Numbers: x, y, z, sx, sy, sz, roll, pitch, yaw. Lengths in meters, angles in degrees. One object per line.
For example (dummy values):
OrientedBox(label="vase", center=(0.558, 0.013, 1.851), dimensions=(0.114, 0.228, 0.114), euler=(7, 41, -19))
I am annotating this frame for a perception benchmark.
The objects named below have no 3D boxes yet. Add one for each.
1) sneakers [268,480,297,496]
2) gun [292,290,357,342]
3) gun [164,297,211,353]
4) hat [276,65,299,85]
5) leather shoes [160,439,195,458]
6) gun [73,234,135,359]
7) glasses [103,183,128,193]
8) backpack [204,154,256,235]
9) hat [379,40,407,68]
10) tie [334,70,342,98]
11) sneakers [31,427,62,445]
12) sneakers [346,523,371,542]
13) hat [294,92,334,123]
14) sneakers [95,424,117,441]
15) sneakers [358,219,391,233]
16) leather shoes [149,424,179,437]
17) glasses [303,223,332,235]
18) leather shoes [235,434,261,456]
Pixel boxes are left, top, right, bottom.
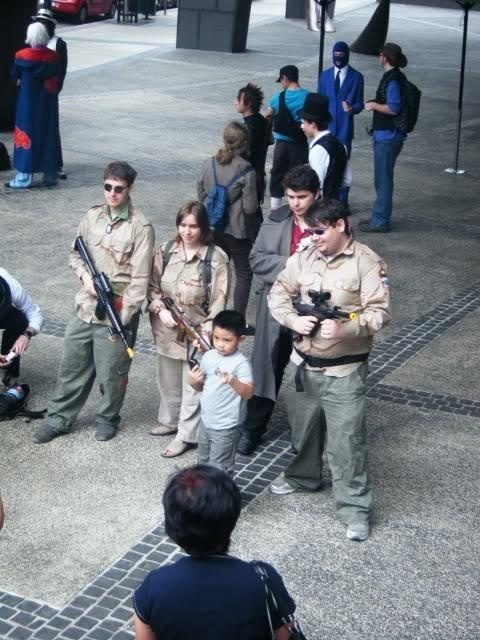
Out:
OrientedBox(label="sneakers", center=(0.315, 1.212, 4.015), dimensions=(0.189, 0.080, 0.084), euler=(7, 23, 5))
OrientedBox(label="gun", center=(0.507, -0.028, 3.416), dimensions=(0.087, 0.314, 0.500), euler=(-6, 12, -37))
OrientedBox(label="gun", center=(-0.398, 0.016, 4.265), dimensions=(0.051, 0.240, 0.607), euler=(-28, 51, -28))
OrientedBox(label="hat", center=(0.838, -4.136, 9.320), dimensions=(0.392, 0.253, 0.488), euler=(-5, 22, -11))
OrientedBox(label="leather shoes", center=(-0.510, 1.036, 4.483), dimensions=(0.305, 0.106, 0.109), euler=(-4, 7, -41))
OrientedBox(label="gun", center=(-1.087, -0.203, 4.423), dimensions=(0.172, 1.071, 0.440), euler=(-15, -23, -30))
OrientedBox(label="glasses", center=(-0.950, -1.014, 4.233), dimensions=(0.106, 0.045, 0.130), euler=(4, 5, 2))
OrientedBox(label="backpack", center=(-0.083, -1.419, 6.344), dimensions=(0.804, 0.858, 0.462), euler=(18, 30, 30))
OrientedBox(label="hat", center=(2.657, -4.555, 9.398), dimensions=(0.370, 0.450, 0.688), euler=(13, 18, 32))
OrientedBox(label="tie", center=(1.778, -4.326, 9.978), dimensions=(0.117, 0.459, 0.077), euler=(4, 17, 4))
OrientedBox(label="sneakers", center=(-1.607, 0.946, 4.570), dimensions=(0.098, 0.093, 0.238), euler=(19, 10, 22))
OrientedBox(label="sneakers", center=(0.768, 1.344, 3.516), dimensions=(0.162, 0.109, 0.092), euler=(1, 16, -4))
OrientedBox(label="hat", center=(0.886, -2.480, 6.379), dimensions=(0.373, 0.350, 0.363), euler=(4, 16, 7))
OrientedBox(label="sneakers", center=(-1.136, 0.940, 4.635), dimensions=(0.163, 0.119, 0.136), euler=(-3, 16, -19))
OrientedBox(label="sneakers", center=(2.417, -1.693, 9.919), dimensions=(0.638, 0.247, 0.218), euler=(9, 8, 12))
OrientedBox(label="leather shoes", center=(-0.673, 0.954, 4.776), dimensions=(0.220, 0.087, 0.094), euler=(4, 10, -4))
OrientedBox(label="glasses", center=(0.472, -0.572, 3.444), dimensions=(0.062, 0.069, 0.171), euler=(-11, 20, -40))
OrientedBox(label="leather shoes", center=(0.078, 1.013, 4.548), dimensions=(0.118, 0.148, 0.223), euler=(10, 17, 24))
